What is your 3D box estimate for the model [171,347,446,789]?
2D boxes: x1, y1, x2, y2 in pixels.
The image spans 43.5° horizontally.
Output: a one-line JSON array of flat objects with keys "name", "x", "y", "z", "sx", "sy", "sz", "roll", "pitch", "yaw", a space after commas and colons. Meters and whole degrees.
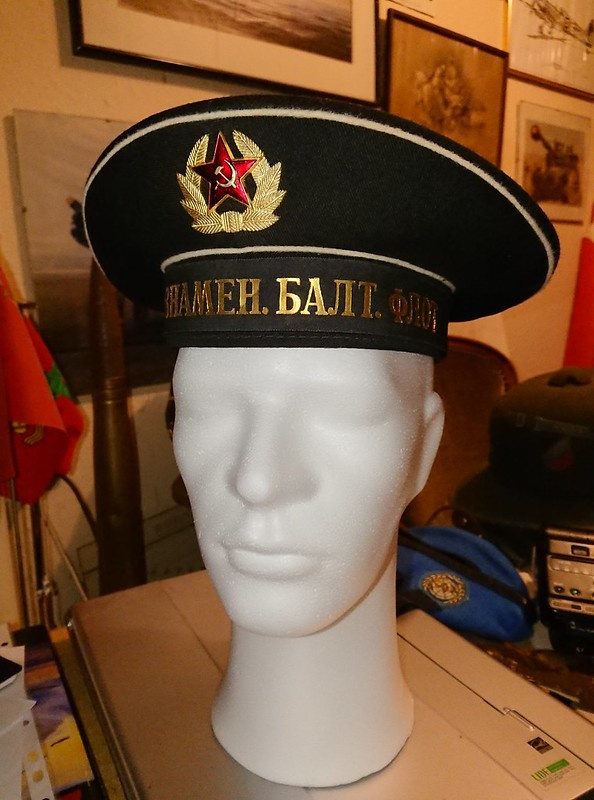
[{"name": "model", "x": 0.036, "y": 0.224, "z": 1.063, "sx": 0.399, "sy": 0.624, "sz": 0.271, "roll": -3, "pitch": 24, "yaw": -9}]
